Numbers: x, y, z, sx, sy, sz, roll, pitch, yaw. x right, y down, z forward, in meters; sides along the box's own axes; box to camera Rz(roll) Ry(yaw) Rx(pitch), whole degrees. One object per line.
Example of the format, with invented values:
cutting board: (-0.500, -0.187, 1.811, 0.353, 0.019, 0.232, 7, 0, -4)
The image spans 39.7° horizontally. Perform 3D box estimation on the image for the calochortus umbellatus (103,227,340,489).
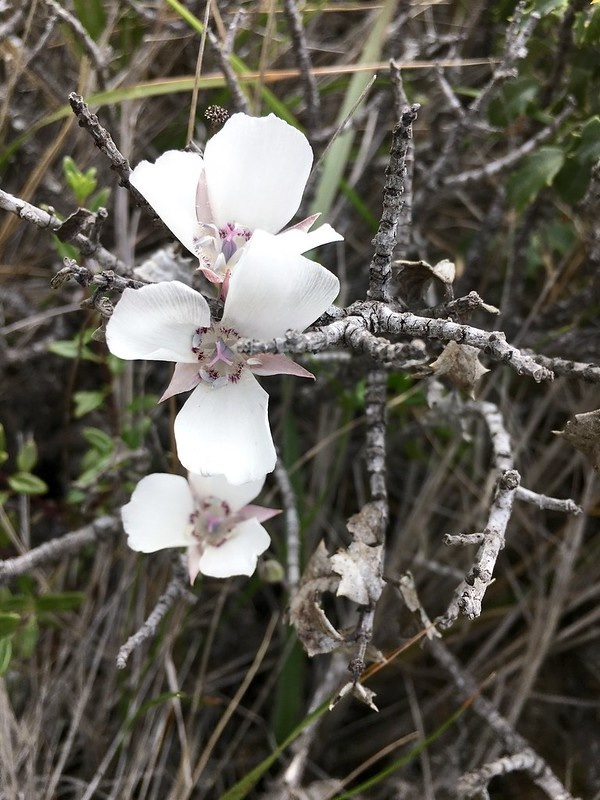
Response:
calochortus umbellatus: (-0.146, -0.125, 1.738, 0.470, 0.164, 0.593, 8, -25, -33)

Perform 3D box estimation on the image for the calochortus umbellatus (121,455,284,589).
calochortus umbellatus: (-0.217, 0.256, 1.954, 0.289, 0.101, 0.295, -30, 35, -24)
